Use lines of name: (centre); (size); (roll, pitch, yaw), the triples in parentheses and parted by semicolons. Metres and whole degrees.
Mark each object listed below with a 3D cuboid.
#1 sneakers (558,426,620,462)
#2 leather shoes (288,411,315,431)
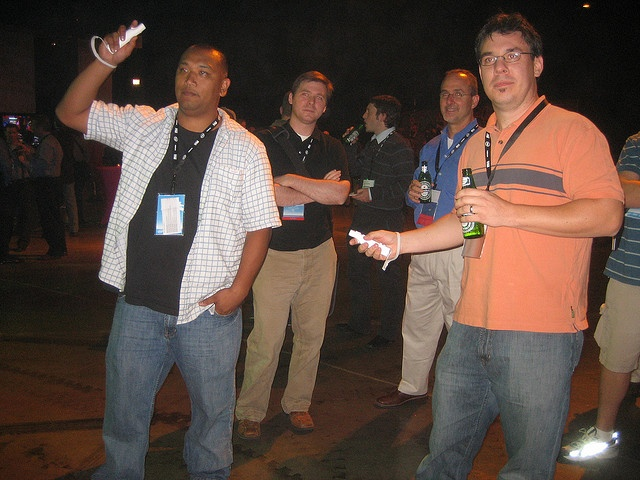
sneakers: (1.775, 1.346, 3.139); (0.425, 0.180, 0.136); (-6, 16, -7)
leather shoes: (-0.126, 1.317, 3.389); (0.091, 0.079, 0.197); (2, -11, -18)
